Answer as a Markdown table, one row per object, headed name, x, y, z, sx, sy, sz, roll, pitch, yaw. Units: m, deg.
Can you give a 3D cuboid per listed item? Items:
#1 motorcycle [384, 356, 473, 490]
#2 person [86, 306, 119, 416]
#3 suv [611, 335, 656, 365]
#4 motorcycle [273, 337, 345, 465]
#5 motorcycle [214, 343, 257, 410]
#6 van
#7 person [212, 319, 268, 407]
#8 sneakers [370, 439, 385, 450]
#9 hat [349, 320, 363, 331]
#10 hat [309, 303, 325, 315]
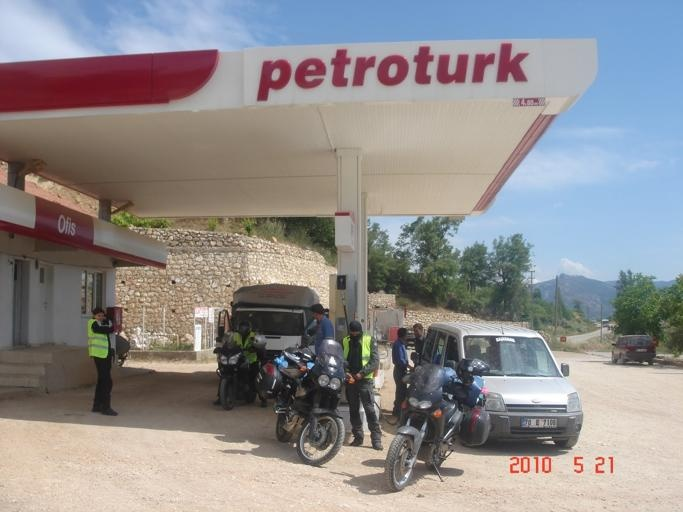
| name | x | y | z | sx | sy | sz | roll | pitch | yaw |
| --- | --- | --- | --- | --- | --- | --- | --- | --- | --- |
| motorcycle | 1.322 | 2.535 | 10.099 | 1.645 | 1.969 | 0.490 | 10 | -10 | -37 |
| person | -4.849 | 2.118 | 13.473 | 0.661 | 2.108 | 0.952 | 6 | -8 | -19 |
| suv | 14.646 | 4.712 | 33.619 | 1.152 | 1.138 | 2.539 | 0 | -2 | 9 |
| motorcycle | -0.552 | 2.353 | 10.958 | 0.770 | 1.990 | 1.502 | 9 | -9 | -36 |
| motorcycle | -2.318 | 2.639 | 14.553 | 0.630 | 1.395 | 1.187 | 1 | -8 | 15 |
| van | 3.183 | 2.509 | 13.238 | 1.652 | 1.762 | 3.268 | 1 | -15 | -1 |
| person | -2.447 | 2.273 | 14.863 | 0.684 | 1.198 | 1.999 | 6 | 8 | -2 |
| sneakers | 0.639 | 3.325 | 11.729 | 0.219 | 0.192 | 0.313 | 3 | -9 | 4 |
| hat | 0.264 | 1.256 | 11.884 | 0.143 | 0.179 | 0.212 | 3 | 13 | 15 |
| hat | -0.440 | 0.999 | 12.491 | 0.252 | 0.218 | 0.445 | 4 | -9 | 1 |
